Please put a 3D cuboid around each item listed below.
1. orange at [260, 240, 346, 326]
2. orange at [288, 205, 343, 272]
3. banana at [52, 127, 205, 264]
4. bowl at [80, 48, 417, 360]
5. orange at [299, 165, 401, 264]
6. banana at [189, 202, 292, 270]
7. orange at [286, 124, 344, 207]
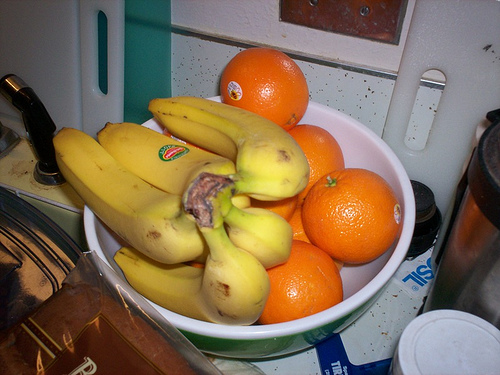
[{"bbox_3d":[0.085,0.137,0.602,0.096,0.090,0.096,40,33,-30],"label":"orange"},{"bbox_3d":[0.133,0.082,0.670,0.092,0.125,0.097,-1,0,22],"label":"orange"},{"bbox_3d":[-0.194,0.009,0.570,0.281,0.110,0.077,35,41,12],"label":"banana"},{"bbox_3d":[-0.026,0.032,0.635,0.476,0.325,0.463,9,50,-11],"label":"bowl"},{"bbox_3d":[0.153,0.040,0.651,0.141,0.144,0.149,35,65,2],"label":"orange"},{"bbox_3d":[-0.002,0.058,0.491,0.055,0.069,0.113,46,20,14],"label":"banana"},{"bbox_3d":[0.102,-0.052,0.721,0.117,0.151,0.123,14,5,-4],"label":"orange"}]
